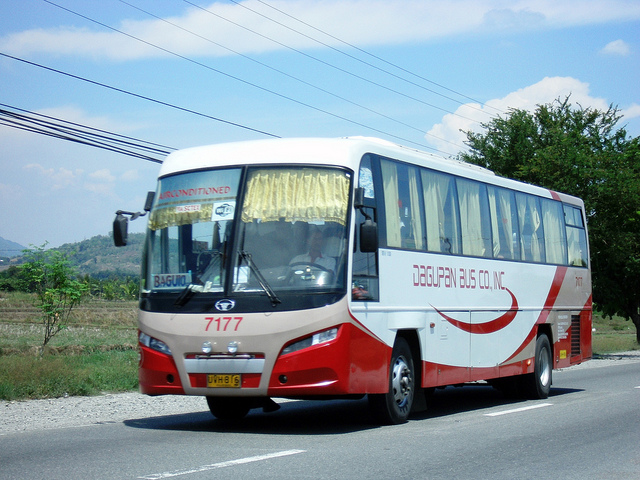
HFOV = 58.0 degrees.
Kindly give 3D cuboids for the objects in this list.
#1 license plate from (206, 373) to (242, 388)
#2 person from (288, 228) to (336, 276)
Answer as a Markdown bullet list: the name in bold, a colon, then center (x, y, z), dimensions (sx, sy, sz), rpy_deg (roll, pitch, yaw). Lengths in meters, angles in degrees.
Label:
- **license plate**: center (-1.381, 2.050, 8.422), dimensions (0.520, 0.257, 0.077), rpy_deg (-12, -5, 17)
- **person**: center (-0.011, 0.130, 8.685), dimensions (1.041, 0.627, 0.439), rpy_deg (5, 8, 31)
